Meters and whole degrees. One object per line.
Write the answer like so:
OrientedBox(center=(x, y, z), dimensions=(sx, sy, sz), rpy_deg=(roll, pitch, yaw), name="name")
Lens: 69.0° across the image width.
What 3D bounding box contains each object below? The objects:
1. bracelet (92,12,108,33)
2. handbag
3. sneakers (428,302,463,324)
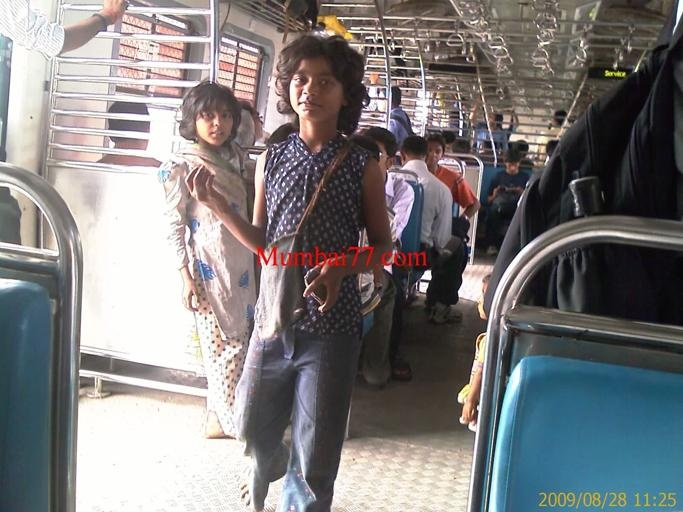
OrientedBox(center=(-1.327, -1.294, 2.761), dimensions=(0.026, 0.099, 0.099), rpy_deg=(-10, -29, -21), name="bracelet")
OrientedBox(center=(-0.201, 0.116, 1.681), dimensions=(0.141, 0.424, 0.308), rpy_deg=(7, -10, -26), name="handbag")
OrientedBox(center=(1.091, 0.613, 5.307), dimensions=(0.174, 0.100, 0.186), rpy_deg=(-14, -34, -9), name="sneakers")
